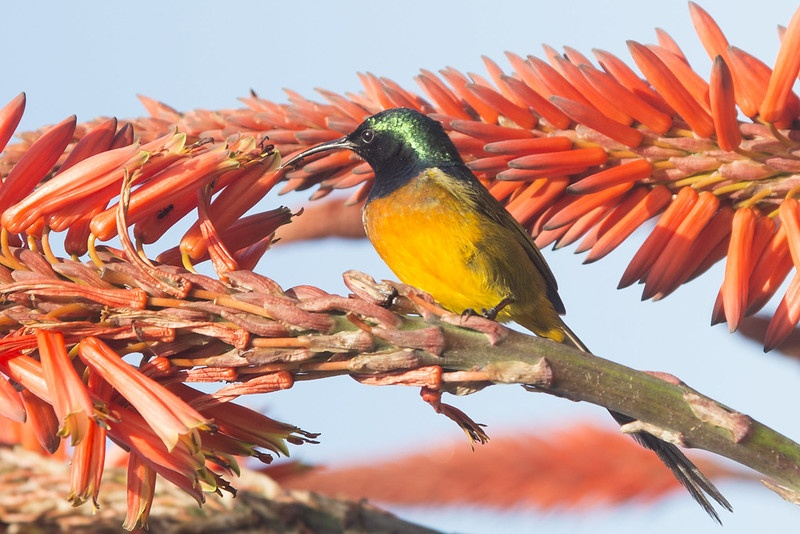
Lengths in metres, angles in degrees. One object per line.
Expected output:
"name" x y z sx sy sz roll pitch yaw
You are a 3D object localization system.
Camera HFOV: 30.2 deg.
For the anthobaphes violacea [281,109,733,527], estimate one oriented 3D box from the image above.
"anthobaphes violacea" 0.216 -0.025 2.697 0.956 0.394 0.240 12 -24 -25
